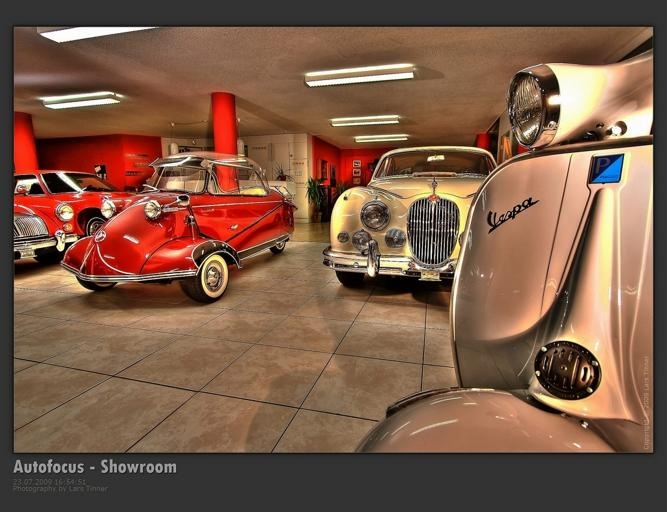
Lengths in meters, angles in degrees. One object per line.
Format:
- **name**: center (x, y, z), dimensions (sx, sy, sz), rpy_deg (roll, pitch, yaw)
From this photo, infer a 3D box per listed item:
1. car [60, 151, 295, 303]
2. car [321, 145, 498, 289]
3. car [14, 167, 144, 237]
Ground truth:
- **car**: center (-1.478, -0.398, 3.952), dimensions (1.276, 1.428, 2.052), rpy_deg (3, 13, 17)
- **car**: center (0.797, -0.454, 4.022), dimensions (1.299, 0.858, 2.073), rpy_deg (1, 1, 9)
- **car**: center (-3.782, -0.822, 5.250), dimensions (2.308, 0.896, 1.323), rpy_deg (2, 7, 29)
